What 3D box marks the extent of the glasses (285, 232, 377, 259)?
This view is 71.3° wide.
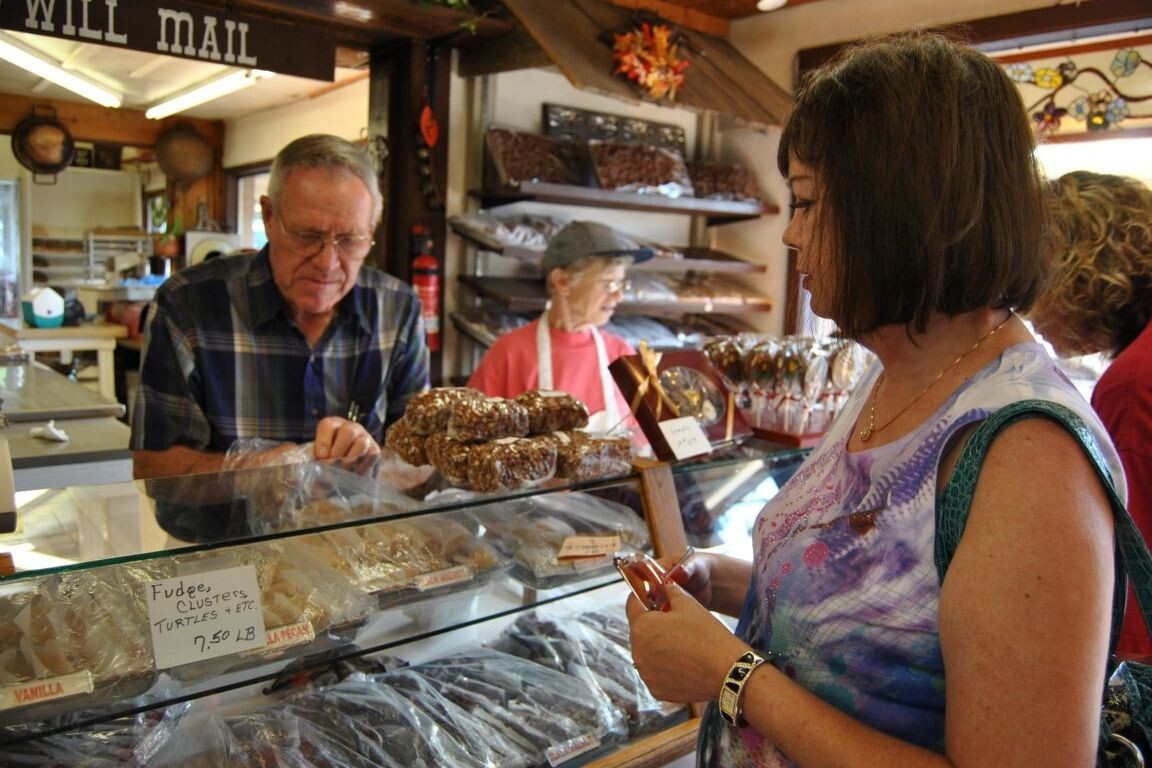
[{"bbox_3d":[-0.712,-0.413,2.365,0.239,0.085,0.072,-7,8,-32],"label":"glasses"}]

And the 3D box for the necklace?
[{"bbox_3d":[0.573,0.003,1.365,0.070,0.350,0.098,-2,45,-39],"label":"necklace"}]

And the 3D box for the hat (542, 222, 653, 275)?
[{"bbox_3d":[0.089,-0.584,3.583,0.401,0.173,0.260,-13,9,8],"label":"hat"}]
